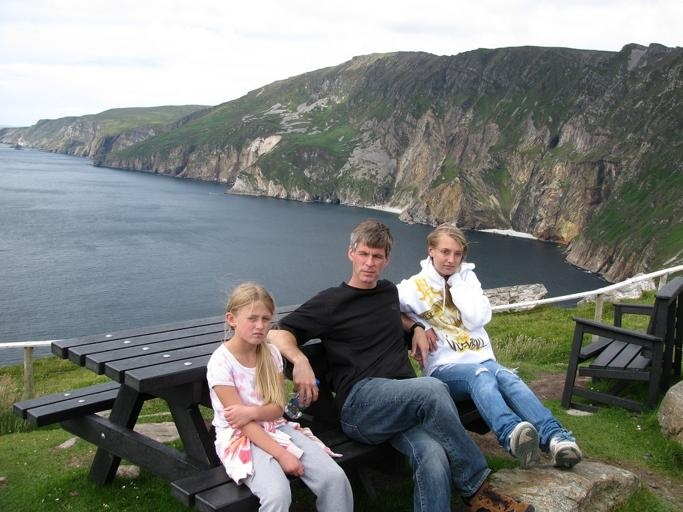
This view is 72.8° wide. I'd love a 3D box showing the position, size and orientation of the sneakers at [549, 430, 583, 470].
[{"bbox_3d":[2.356,2.064,4.899,0.278,0.362,0.190,-2,15,-24],"label":"sneakers"}]
